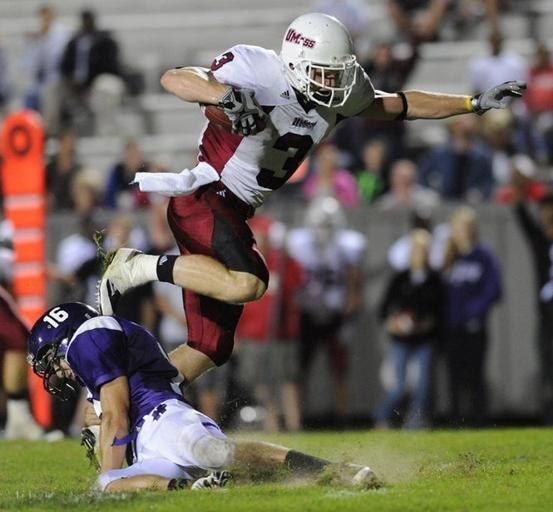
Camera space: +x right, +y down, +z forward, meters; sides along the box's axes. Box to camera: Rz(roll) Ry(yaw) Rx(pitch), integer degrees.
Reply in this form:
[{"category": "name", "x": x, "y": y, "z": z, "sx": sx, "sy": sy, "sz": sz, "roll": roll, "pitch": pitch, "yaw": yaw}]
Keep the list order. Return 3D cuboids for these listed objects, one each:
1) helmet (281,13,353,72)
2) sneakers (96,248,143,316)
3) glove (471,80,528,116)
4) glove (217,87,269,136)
[{"category": "helmet", "x": 0.227, "y": -1.232, "z": 6.562, "sx": 0.394, "sy": 0.311, "sz": 0.294, "roll": 5, "pitch": 20, "yaw": 24}, {"category": "sneakers", "x": -0.994, "y": 0.132, "z": 7.006, "sx": 0.176, "sy": 0.510, "sz": 0.224, "roll": 7, "pitch": -9, "yaw": 38}, {"category": "glove", "x": 1.344, "y": -0.938, "z": 6.917, "sx": 0.284, "sy": 0.186, "sz": 0.095, "roll": -29, "pitch": -33, "yaw": 21}, {"category": "glove", "x": -0.178, "y": -0.803, "z": 6.260, "sx": 0.270, "sy": 0.264, "sz": 0.153, "roll": -2, "pitch": 2, "yaw": -13}]
